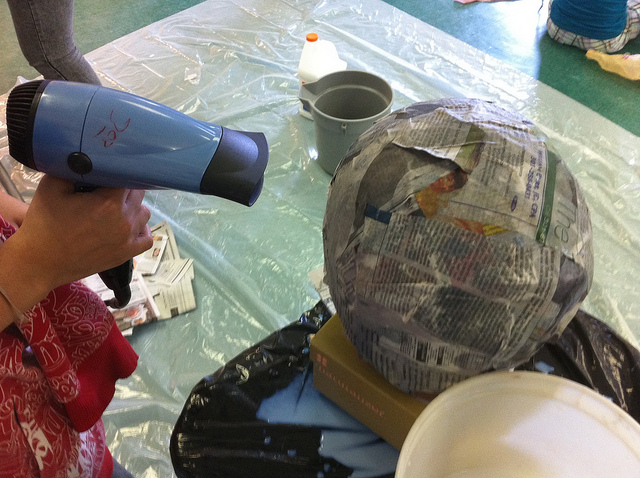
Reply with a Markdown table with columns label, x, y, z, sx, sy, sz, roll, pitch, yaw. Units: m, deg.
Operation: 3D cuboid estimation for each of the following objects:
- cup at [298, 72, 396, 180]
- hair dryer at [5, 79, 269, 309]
| label | x | y | z | sx | sy | sz | roll | pitch | yaw |
| --- | --- | --- | --- | --- | --- | --- | --- | --- | --- |
| cup | 0.087 | -0.393 | 1.879 | 0.335 | 0.316 | 0.328 | 1 | 57 | -2 |
| hair dryer | -0.334 | -0.179 | 1.008 | 0.463 | 0.163 | 0.153 | 3 | 52 | -1 |
